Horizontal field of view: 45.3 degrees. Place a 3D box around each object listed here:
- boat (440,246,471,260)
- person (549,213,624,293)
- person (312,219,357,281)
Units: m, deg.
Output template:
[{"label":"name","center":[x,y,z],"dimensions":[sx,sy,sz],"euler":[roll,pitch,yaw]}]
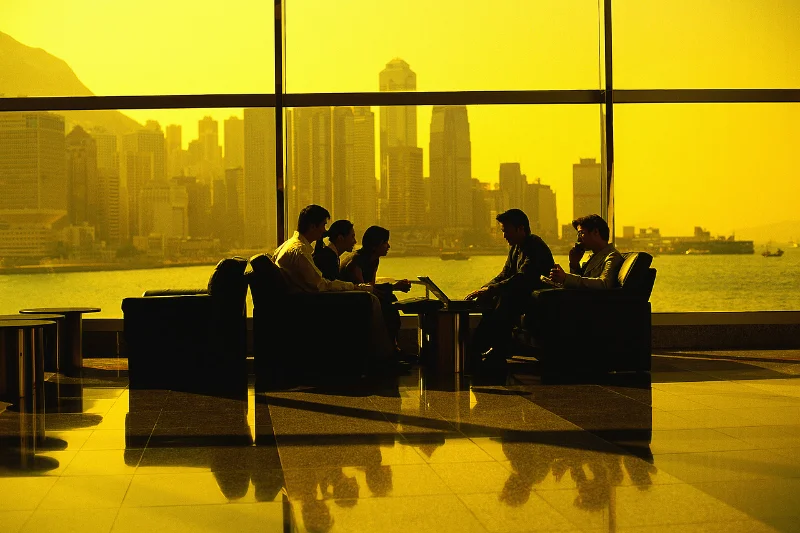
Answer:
[{"label":"boat","center":[2.324,-0.500,40.077],"dimensions":[0.493,0.639,2.032],"euler":[-3,6,21]},{"label":"person","center":[2.248,-0.107,11.503],"dimensions":[0.836,0.966,1.111],"euler":[0,-5,11]},{"label":"person","center":[-0.718,-0.201,11.332],"dimensions":[0.616,0.754,0.787],"euler":[-2,4,-19]}]
